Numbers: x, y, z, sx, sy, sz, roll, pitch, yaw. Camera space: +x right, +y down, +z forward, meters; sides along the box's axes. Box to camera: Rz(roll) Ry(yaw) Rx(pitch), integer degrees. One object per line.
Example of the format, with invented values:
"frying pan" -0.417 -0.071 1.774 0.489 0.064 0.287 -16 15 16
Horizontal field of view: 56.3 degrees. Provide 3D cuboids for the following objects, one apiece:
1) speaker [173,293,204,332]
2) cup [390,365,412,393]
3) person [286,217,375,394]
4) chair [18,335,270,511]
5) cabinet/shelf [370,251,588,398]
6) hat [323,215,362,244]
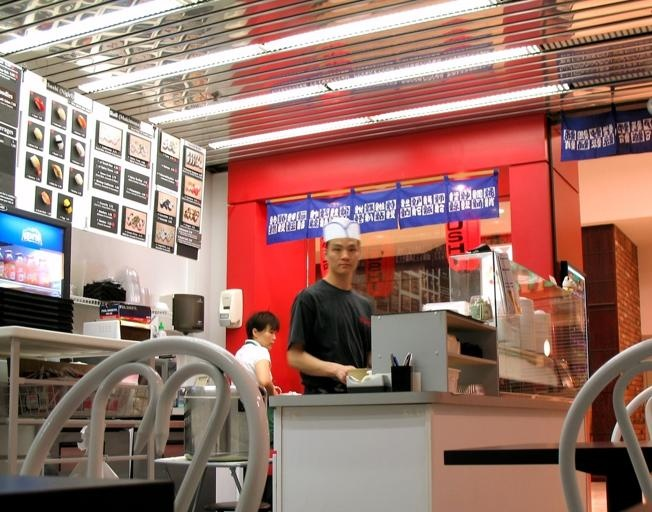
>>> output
"speaker" -1.691 0.750 7.774 0.374 0.571 0.546 -2 -9 11
"cup" 0.356 0.579 2.876 0.093 0.140 0.136 -1 -6 13
"person" 0.035 0.230 3.470 0.417 1.048 0.774 -4 -7 18
"chair" -0.312 0.299 1.095 0.451 0.304 0.277 -2 -7 3
"cabinet/shelf" 1.152 0.510 4.032 0.436 1.023 2.912 -6 -8 36
"hat" 0.082 -0.164 3.773 0.162 0.114 0.174 0 -4 4
